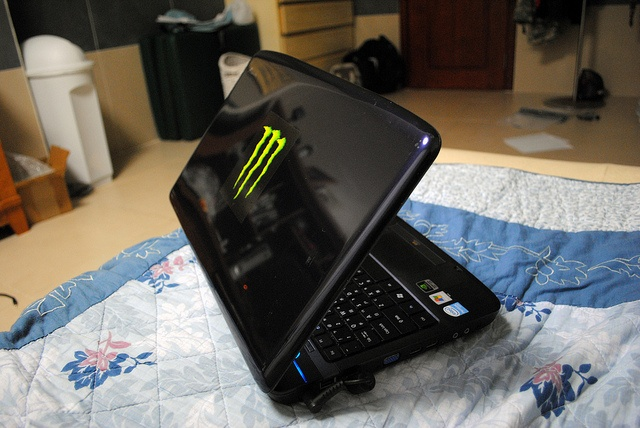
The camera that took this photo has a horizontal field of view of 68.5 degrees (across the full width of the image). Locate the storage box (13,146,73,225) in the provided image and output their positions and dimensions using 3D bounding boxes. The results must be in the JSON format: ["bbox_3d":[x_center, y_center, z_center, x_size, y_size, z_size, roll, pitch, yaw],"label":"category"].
[{"bbox_3d":[-1.265,-0.151,2.290,0.303,0.197,0.307,-25,51,-28],"label":"storage box"}]

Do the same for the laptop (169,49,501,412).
[{"bbox_3d":[0.101,0.066,0.904,0.473,0.488,0.575,27,16,-45],"label":"laptop"}]
